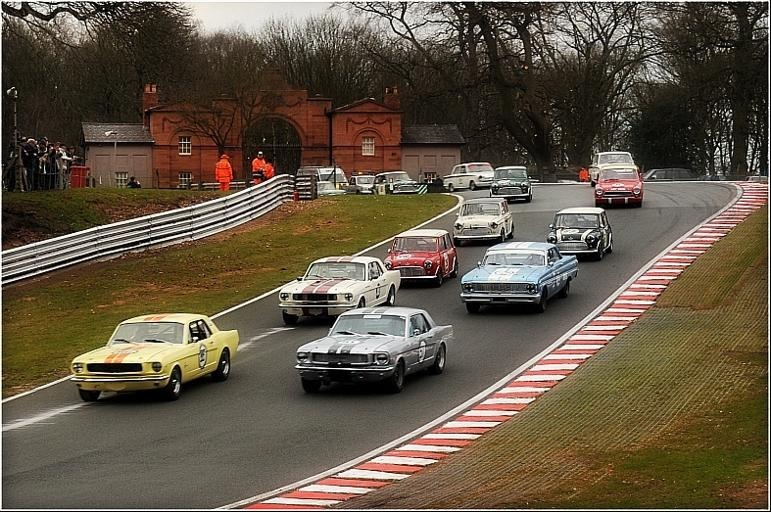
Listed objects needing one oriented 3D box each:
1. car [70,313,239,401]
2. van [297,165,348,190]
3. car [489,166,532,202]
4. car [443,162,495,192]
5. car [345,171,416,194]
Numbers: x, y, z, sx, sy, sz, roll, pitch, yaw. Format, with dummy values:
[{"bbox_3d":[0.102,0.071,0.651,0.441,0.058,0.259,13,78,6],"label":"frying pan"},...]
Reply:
[{"bbox_3d":[-6.236,2.734,28.846,2.273,1.953,3.724,4,9,32],"label":"car"},{"bbox_3d":[-3.951,-5.274,71.936,1.773,1.505,3.230,-4,1,-32],"label":"van"},{"bbox_3d":[6.575,-3.860,57.520,2.014,1.622,1.317,-1,8,-2],"label":"car"},{"bbox_3d":[5.450,-5.188,71.642,3.723,1.807,1.646,7,12,44],"label":"car"},{"bbox_3d":[-0.591,-4.776,70.147,2.002,1.242,3.276,-1,0,-31],"label":"car"}]
